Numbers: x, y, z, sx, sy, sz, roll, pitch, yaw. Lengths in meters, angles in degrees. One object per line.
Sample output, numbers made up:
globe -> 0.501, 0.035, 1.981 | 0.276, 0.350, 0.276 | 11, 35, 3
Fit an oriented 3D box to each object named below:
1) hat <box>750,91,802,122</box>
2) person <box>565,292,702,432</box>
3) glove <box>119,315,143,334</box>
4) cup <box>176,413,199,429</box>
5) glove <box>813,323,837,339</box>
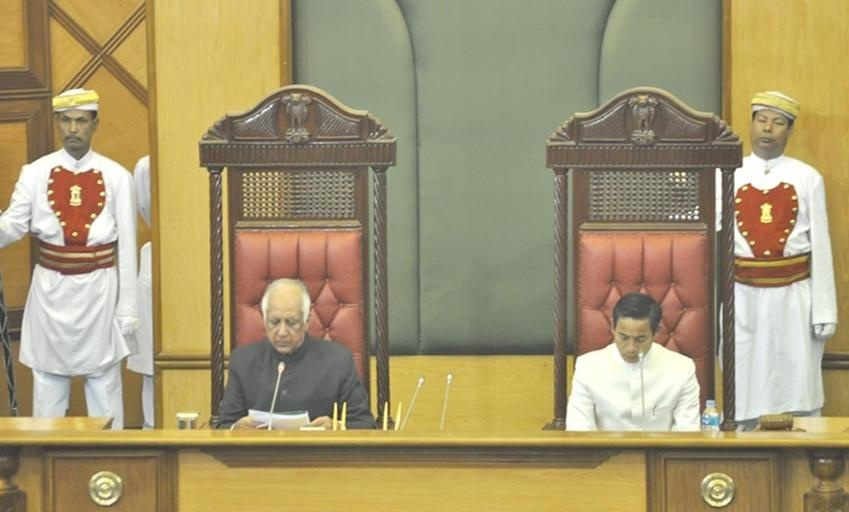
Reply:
hat -> 2.000, -0.861, 14.054 | 0.190, 0.096, 0.201 | 13, 5, 41
person -> 1.101, 0.559, 13.373 | 0.813, 1.207, 0.722 | -1, -2, 2
glove -> -1.684, 0.384, 14.262 | 0.096, 0.105, 0.036 | 2, 8, -18
cup -> -1.213, 0.841, 12.792 | 0.091, 0.072, 0.089 | 1, 0, 0
glove -> 2.245, 0.414, 14.026 | 0.109, 0.076, 0.087 | 3, -2, 15
